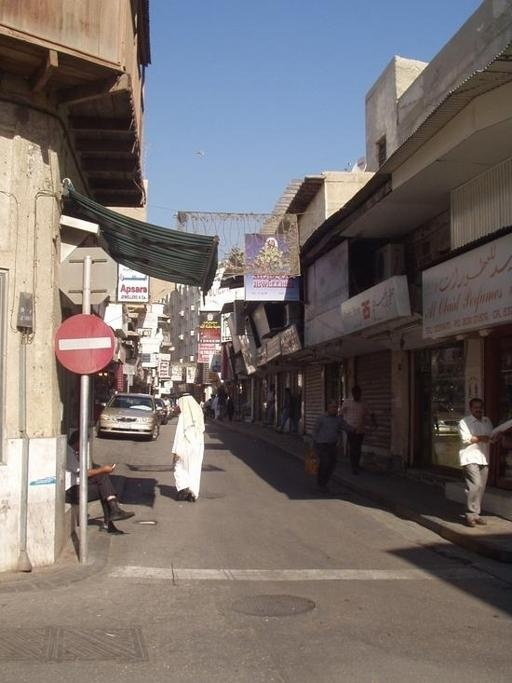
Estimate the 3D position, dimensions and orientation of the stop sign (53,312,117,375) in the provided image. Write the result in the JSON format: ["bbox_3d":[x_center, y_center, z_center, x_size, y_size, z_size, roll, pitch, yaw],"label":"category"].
[{"bbox_3d":[-1.562,0.043,7.088,0.530,0.711,0.063,0,-41,-17],"label":"stop sign"}]

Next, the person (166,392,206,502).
[{"bbox_3d":[-1.008,1.558,11.419,0.410,1.572,0.565,2,-5,-3],"label":"person"}]

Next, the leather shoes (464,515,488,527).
[{"bbox_3d":[2.650,2.181,9.349,0.262,0.144,0.118,-1,6,-13],"label":"leather shoes"}]

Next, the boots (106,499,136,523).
[{"bbox_3d":[-1.589,1.993,9.148,0.353,0.342,0.159,-6,4,-12],"label":"boots"}]

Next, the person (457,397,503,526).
[{"bbox_3d":[2.740,1.497,9.670,0.394,1.559,1.040,0,-6,16],"label":"person"}]

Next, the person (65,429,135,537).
[{"bbox_3d":[-1.781,1.592,8.742,0.767,1.144,1.867,3,-7,-7],"label":"person"}]

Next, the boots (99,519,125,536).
[{"bbox_3d":[-1.642,2.107,8.772,0.308,0.250,0.130,1,-4,6],"label":"boots"}]
